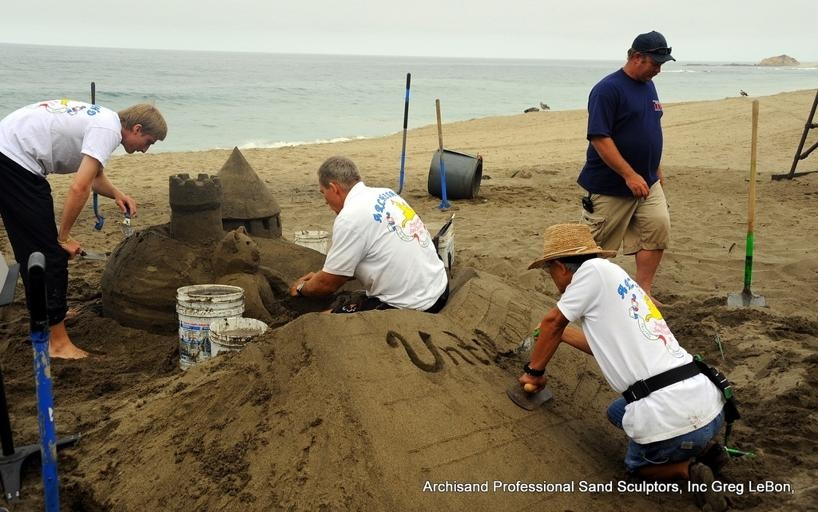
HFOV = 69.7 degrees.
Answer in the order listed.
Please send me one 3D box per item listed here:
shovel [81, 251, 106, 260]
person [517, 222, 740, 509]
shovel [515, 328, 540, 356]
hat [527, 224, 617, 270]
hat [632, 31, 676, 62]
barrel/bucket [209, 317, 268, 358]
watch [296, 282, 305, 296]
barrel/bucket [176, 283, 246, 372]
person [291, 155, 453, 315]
[{"bbox_3d":[-3.408,0.003,6.265,0.270,0.081,0.184,1,-1,-1],"label":"shovel"},{"bbox_3d":[1.593,0.745,4.120,1.545,1.737,0.576,13,22,28],"label":"person"},{"bbox_3d":[1.001,0.743,4.985,0.274,0.069,0.251,-31,14,20],"label":"shovel"},{"bbox_3d":[1.228,-0.139,4.456,0.467,0.208,0.446,-17,-21,24],"label":"hat"},{"bbox_3d":[2.205,-1.880,5.305,0.346,0.251,0.254,7,19,14],"label":"hat"},{"bbox_3d":[-1.415,0.692,4.847,0.462,0.294,0.478,2,18,-1],"label":"barrel/bucket"},{"bbox_3d":[-0.973,0.302,5.207,0.041,0.103,0.116,11,-31,-17],"label":"watch"},{"bbox_3d":[-1.675,0.619,5.379,0.798,0.702,0.745,1,4,0],"label":"barrel/bucket"},{"bbox_3d":[-0.317,-0.269,5.547,1.644,1.398,1.150,6,20,17],"label":"person"}]
